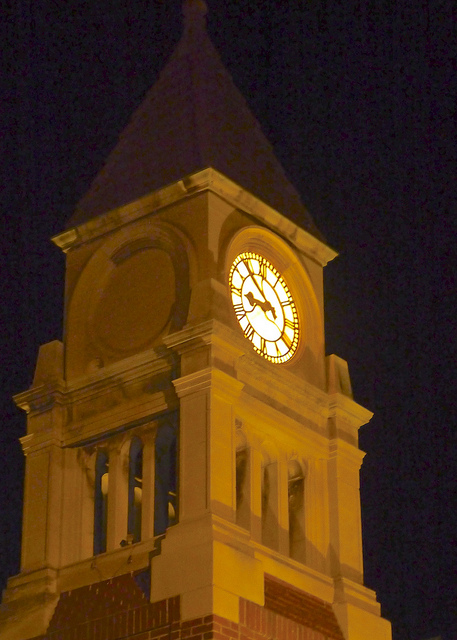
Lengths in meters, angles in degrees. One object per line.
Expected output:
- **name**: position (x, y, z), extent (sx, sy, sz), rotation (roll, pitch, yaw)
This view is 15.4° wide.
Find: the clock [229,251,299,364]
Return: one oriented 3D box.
- **clock**: position (0.675, -0.251, 36.901), extent (0.037, 1.820, 1.815), rotation (-18, -56, 22)
